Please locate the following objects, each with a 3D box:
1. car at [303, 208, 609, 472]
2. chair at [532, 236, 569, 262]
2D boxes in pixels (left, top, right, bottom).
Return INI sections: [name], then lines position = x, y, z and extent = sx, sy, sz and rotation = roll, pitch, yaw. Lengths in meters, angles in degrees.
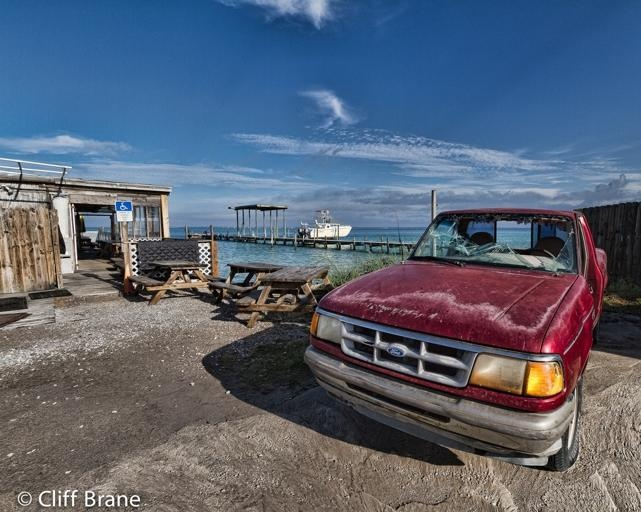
[car]
position = 1.521, 0.652, 4.167
extent = 2.127, 2.264, 2.860
rotation = 5, 10, 35
[chair]
position = 2.473, -0.065, 4.354
extent = 0.342, 0.233, 0.234
rotation = -14, 1, -24
